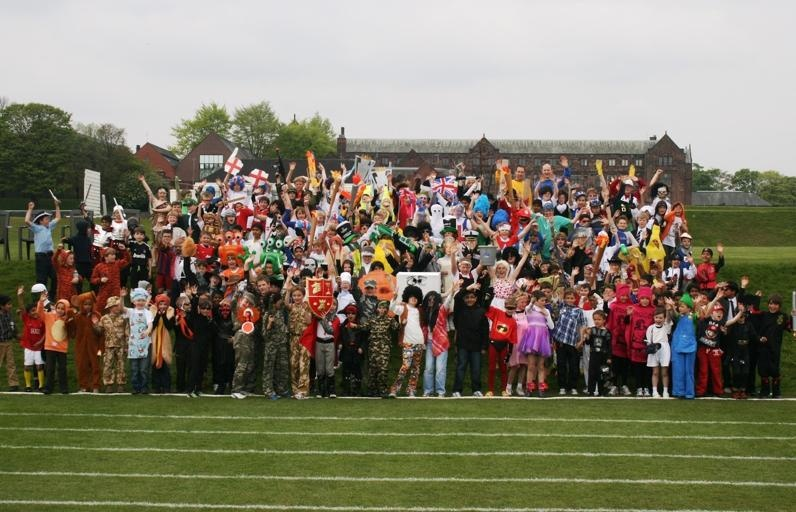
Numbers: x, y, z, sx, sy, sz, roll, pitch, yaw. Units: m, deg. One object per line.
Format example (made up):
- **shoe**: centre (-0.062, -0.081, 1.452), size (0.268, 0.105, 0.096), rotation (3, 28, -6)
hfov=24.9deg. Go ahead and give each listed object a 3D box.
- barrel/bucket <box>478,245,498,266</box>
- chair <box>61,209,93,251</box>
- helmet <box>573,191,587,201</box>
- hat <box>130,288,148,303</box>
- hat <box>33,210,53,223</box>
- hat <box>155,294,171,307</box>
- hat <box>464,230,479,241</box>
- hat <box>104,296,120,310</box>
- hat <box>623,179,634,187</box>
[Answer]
- **barrel/bucket**: centre (3.156, -0.014, 63.117), size (0.627, 0.649, 0.635), rotation (-1, -14, 0)
- **chair**: centre (-11.449, -0.768, 65.444), size (1.155, 1.897, 1.178), rotation (0, -3, -21)
- **helmet**: centre (6.730, -2.297, 66.932), size (0.409, 0.161, 0.409), rotation (2, -6, -20)
- **hat**: centre (-8.939, 1.362, 62.524), size (0.492, 0.418, 0.530), rotation (0, -4, -11)
- **hat**: centre (-13.127, -1.475, 66.704), size (0.564, 0.221, 0.508), rotation (-23, 0, 40)
- **hat**: centre (-8.079, 1.493, 62.268), size (0.305, 0.391, 0.405), rotation (2, -35, -16)
- **hat**: centre (2.628, -0.763, 64.822), size (0.500, 0.442, 0.843), rotation (1, -8, -2)
- **hat**: centre (-9.774, 1.558, 62.388), size (0.490, 0.259, 0.457), rotation (-13, 1, 9)
- **hat**: centre (8.562, -2.750, 67.220), size (0.292, 0.233, 0.250), rotation (-1, -2, 39)
